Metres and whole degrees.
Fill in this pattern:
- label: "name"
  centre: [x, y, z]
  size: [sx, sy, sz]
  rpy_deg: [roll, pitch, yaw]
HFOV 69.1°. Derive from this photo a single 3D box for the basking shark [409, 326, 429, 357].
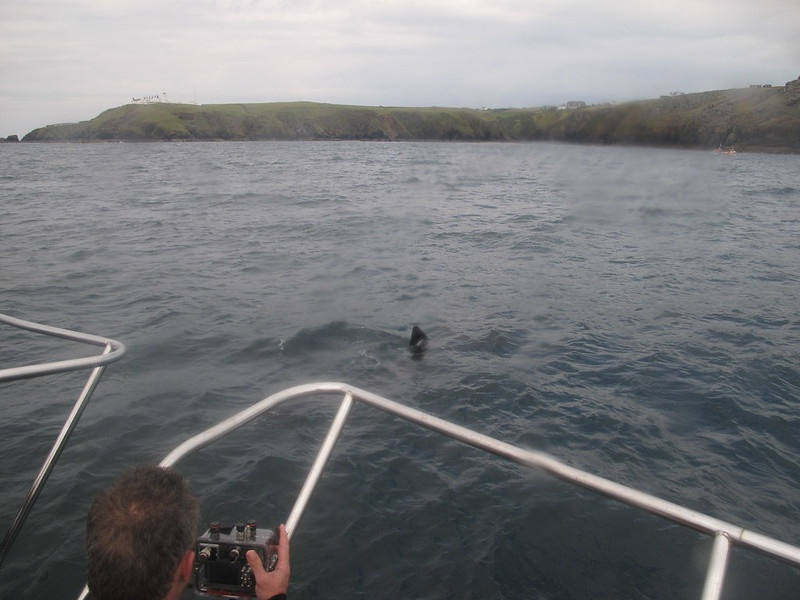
- label: "basking shark"
  centre: [0.363, 0.783, 11.040]
  size: [0.296, 0.226, 0.688]
  rpy_deg: [-9, 26, 1]
